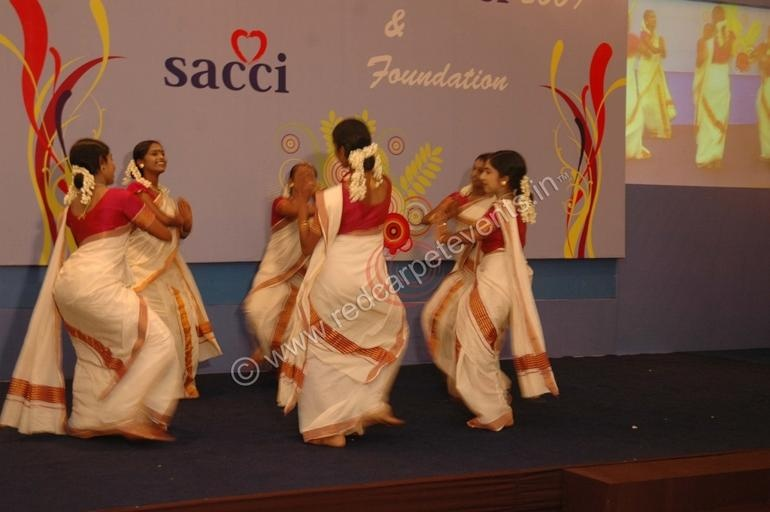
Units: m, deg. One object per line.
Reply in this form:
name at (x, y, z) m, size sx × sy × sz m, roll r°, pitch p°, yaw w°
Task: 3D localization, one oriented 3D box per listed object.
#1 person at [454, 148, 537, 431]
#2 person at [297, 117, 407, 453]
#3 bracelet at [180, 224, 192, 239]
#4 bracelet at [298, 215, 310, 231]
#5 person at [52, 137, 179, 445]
person at (0.865, 0.252, 5.717) m, size 0.622 × 2.002 × 0.647 m, roll 2°, pitch 11°, yaw 8°
person at (-0.255, 0.195, 5.316) m, size 0.805 × 2.222 × 0.477 m, roll 0°, pitch 11°, yaw 1°
bracelet at (-1.644, -0.186, 6.198) m, size 0.111 × 0.137 × 0.125 m, roll 4°, pitch -5°, yaw -17°
bracelet at (-0.577, -0.221, 5.374) m, size 0.074 × 0.076 × 0.076 m, roll 0°, pitch 0°, yaw 3°
person at (-1.926, 0.422, 5.416) m, size 0.857 × 1.750 × 0.529 m, roll -2°, pitch 11°, yaw -10°
